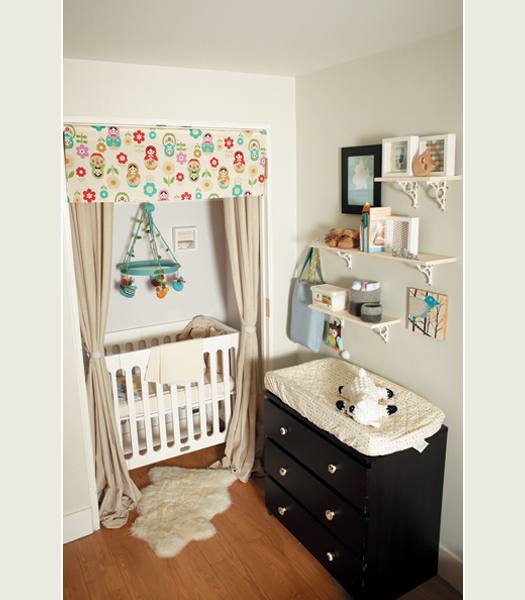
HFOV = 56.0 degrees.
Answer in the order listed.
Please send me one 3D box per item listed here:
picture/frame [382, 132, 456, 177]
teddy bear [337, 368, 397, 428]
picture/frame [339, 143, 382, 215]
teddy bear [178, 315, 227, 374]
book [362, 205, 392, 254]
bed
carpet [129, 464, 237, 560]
[{"bbox_3d":[0.652,-0.596,2.047,0.112,0.169,0.385,-9,15,-29],"label":"picture/frame"},{"bbox_3d":[0.458,0.443,2.225,0.263,0.118,0.287,-2,26,9],"label":"teddy bear"},{"bbox_3d":[0.497,-0.612,2.454,0.031,0.454,0.362,-6,12,-27],"label":"picture/frame"},{"bbox_3d":[-0.434,0.289,3.643,0.381,0.249,0.374,-6,10,-37],"label":"teddy bear"},{"bbox_3d":[0.531,-0.325,2.270,0.184,0.256,0.094,-9,16,-33],"label":"book"},{"bbox_3d":[-0.548,0.705,3.306,0.761,0.626,0.421,-9,-14,-6],"label":"bed"},{"bbox_3d":[-0.452,1.160,2.775,0.556,0.036,0.796,0,13,3],"label":"carpet"}]
